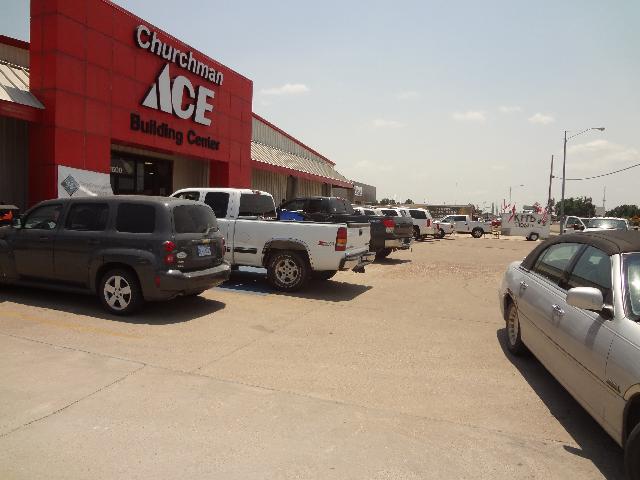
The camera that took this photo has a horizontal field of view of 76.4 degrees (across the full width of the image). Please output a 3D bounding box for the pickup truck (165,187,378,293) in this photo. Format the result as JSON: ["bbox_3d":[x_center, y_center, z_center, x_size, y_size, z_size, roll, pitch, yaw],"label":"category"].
[{"bbox_3d":[-1.347,-0.194,10.235,4.830,1.689,2.394,7,5,24],"label":"pickup truck"}]

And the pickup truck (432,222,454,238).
[{"bbox_3d":[10.192,-0.835,33.509,2.450,0.871,1.297,2,3,13],"label":"pickup truck"}]

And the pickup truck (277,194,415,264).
[{"bbox_3d":[-0.194,-0.640,14.220,4.842,1.654,2.222,6,7,29],"label":"pickup truck"}]
